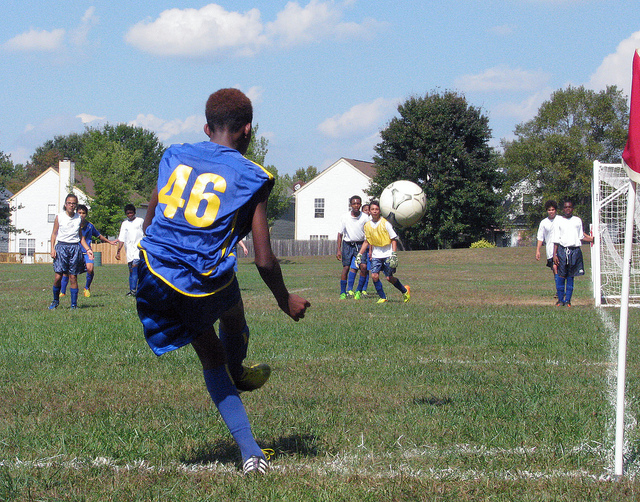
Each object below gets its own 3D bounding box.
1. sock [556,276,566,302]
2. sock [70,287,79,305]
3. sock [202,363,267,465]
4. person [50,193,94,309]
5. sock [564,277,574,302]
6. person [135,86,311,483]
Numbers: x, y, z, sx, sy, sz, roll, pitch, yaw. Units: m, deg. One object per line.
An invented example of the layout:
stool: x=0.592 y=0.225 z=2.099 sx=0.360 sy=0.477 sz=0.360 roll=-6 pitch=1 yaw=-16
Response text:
sock: x=4.206 y=0.657 z=15.351 sx=0.145 sy=0.443 sz=0.133 roll=1 pitch=7 yaw=19
sock: x=-3.917 y=0.727 z=14.055 sx=0.090 sy=0.260 sz=0.134 roll=-3 pitch=7 yaw=-17
sock: x=-0.653 y=1.131 z=6.557 sx=0.279 sy=0.917 sz=0.385 roll=-18 pitch=-26 yaw=-9
person: x=-4.087 y=0.011 z=14.186 sx=0.580 sy=1.813 sz=0.651 roll=-3 pitch=7 yaw=-20
sock: x=4.373 y=0.668 z=15.470 sx=0.130 sy=0.445 sz=0.422 roll=1 pitch=7 yaw=17
person: x=-0.780 y=0.203 z=6.501 sx=1.109 sy=2.790 sz=1.023 roll=-2 pitch=7 yaw=-12
